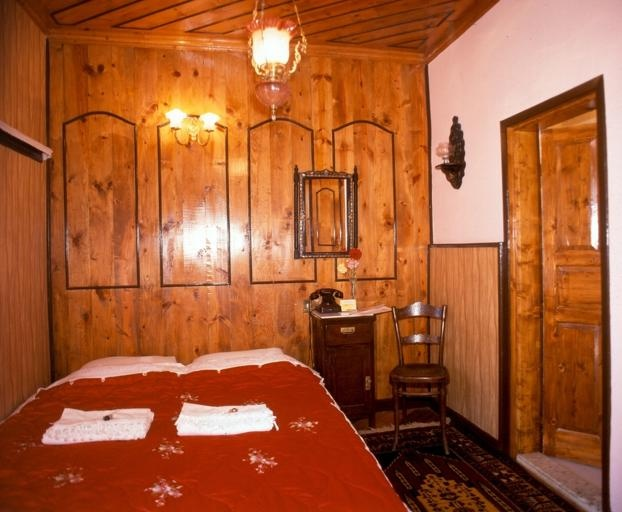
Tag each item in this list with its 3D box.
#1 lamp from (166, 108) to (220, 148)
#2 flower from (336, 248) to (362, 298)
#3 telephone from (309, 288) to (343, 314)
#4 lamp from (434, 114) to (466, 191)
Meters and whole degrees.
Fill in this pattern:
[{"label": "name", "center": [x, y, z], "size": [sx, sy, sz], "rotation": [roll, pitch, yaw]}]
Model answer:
[{"label": "lamp", "center": [-1.059, -1.187, 4.617], "size": [0.510, 0.332, 0.241], "rotation": [-2, 9, -16]}, {"label": "flower", "center": [0.382, 0.172, 4.858], "size": [0.218, 0.509, 0.296], "rotation": [1, 8, 5]}, {"label": "telephone", "center": [0.142, 0.413, 4.669], "size": [0.370, 0.268, 0.190], "rotation": [-1, 12, 0]}, {"label": "lamp", "center": [1.280, -0.970, 4.720], "size": [0.221, 0.679, 0.398], "rotation": [-2, 8, -10]}]
